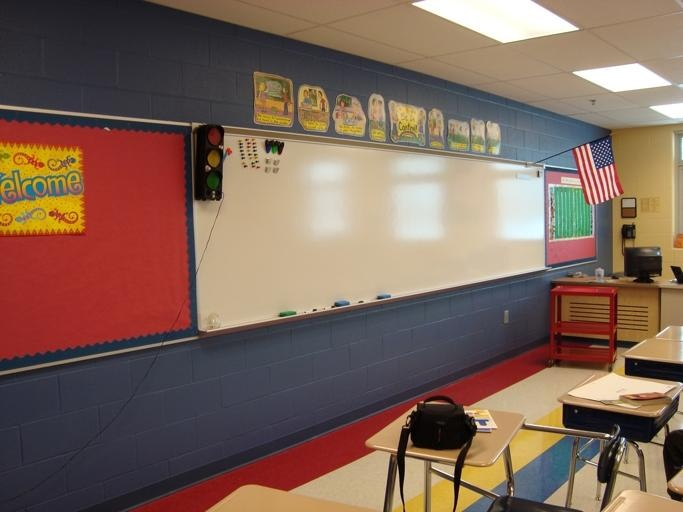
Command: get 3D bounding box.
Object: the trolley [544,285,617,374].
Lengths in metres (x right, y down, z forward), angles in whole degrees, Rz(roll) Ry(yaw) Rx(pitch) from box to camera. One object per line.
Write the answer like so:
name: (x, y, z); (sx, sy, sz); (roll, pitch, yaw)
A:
trolley: (3.057, 0.887, 6.368); (0.695, 0.998, 0.528); (-2, -1, 35)

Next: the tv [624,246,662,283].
tv: (3.970, 0.109, 6.620); (0.433, 0.463, 0.259); (-2, 3, 16)

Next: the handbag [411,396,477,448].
handbag: (0.518, 0.840, 2.573); (0.330, 0.243, 0.241); (0, -5, 8)

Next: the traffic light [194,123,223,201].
traffic light: (-0.919, -0.664, 3.553); (0.172, 0.517, 0.162); (-1, 5, -36)

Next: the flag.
flag: (3.188, -1.084, 6.308); (0.695, 0.825, 0.283); (-7, 10, -32)

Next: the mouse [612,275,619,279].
mouse: (3.838, 0.291, 7.098); (0.072, 0.036, 0.118); (2, 4, 21)

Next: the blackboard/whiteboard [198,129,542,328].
blackboard/whiteboard: (0.699, -0.336, 4.930); (4.280, 1.532, 0.091); (-4, 5, -36)

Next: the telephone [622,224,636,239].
telephone: (5.027, -0.444, 8.916); (0.226, 0.299, 0.217); (1, 0, 21)
